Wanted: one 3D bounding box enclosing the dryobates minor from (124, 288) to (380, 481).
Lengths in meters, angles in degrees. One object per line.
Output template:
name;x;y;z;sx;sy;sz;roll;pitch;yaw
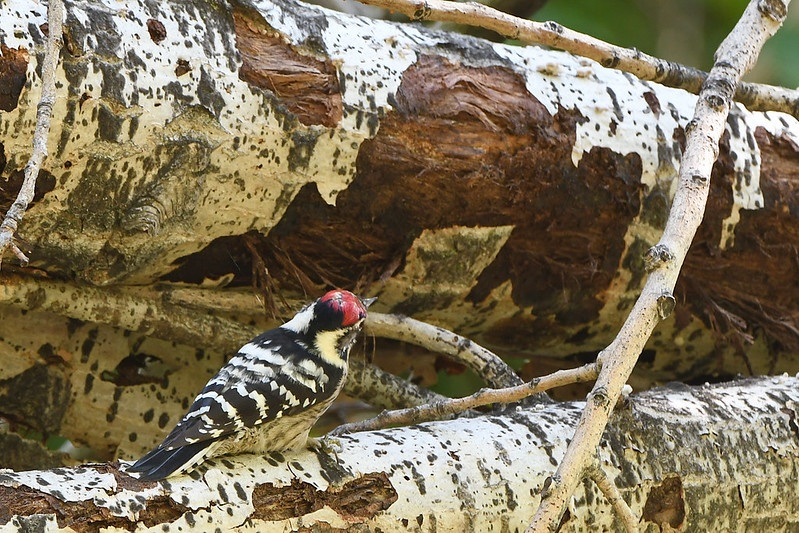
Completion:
dryobates minor;-0.510;0.359;7.375;1.204;0.580;0.392;-17;26;-38
